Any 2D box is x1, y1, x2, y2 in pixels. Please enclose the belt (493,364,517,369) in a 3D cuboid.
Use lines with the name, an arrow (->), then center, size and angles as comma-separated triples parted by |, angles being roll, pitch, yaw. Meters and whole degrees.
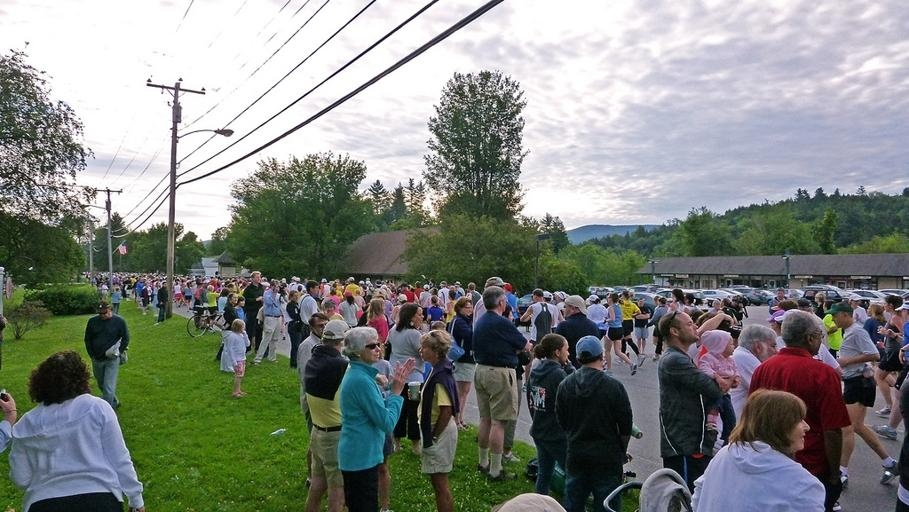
belt -> 1.373, 3.002, 20.441 | 0.548, 0.105, 0.120 | 3, -2, -9

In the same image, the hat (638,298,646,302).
hat -> 8.493, 2.006, 34.192 | 0.279, 0.299, 0.343 | -2, -7, -2

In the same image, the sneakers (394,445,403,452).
sneakers -> -1.557, 5.462, 21.380 | 0.293, 0.120, 0.208 | 4, -3, -25

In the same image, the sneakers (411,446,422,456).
sneakers -> -1.060, 5.476, 21.179 | 0.085, 0.197, 0.232 | 5, -3, -43

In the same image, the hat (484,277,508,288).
hat -> 1.221, 0.781, 22.057 | 0.608, 0.188, 0.432 | 2, -3, -32

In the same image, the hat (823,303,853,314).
hat -> 11.342, 1.566, 22.264 | 0.607, 0.251, 0.418 | -2, 0, 29

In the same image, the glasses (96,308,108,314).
glasses -> -10.438, 1.647, 22.434 | 0.186, 0.117, 0.228 | 6, -7, 11

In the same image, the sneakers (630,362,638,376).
sneakers -> 6.432, 4.104, 27.034 | 0.193, 0.529, 0.232 | -10, 34, -19

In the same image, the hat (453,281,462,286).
hat -> 0.157, 1.162, 30.560 | 0.274, 0.095, 0.265 | -1, 0, 30

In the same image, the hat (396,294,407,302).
hat -> -1.952, 1.613, 28.398 | 0.283, 0.227, 0.316 | 9, 12, 27

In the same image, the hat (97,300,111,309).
hat -> -10.465, 1.464, 22.586 | 0.320, 0.225, 0.239 | -11, -9, 41

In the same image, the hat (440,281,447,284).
hat -> -0.551, 1.338, 37.982 | 0.327, 0.122, 0.328 | -2, -9, 5

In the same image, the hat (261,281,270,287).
hat -> -8.248, 1.223, 32.947 | 0.376, 0.185, 0.474 | 2, 0, -6

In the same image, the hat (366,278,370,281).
hat -> -5.513, 1.479, 48.140 | 0.291, 0.157, 0.364 | 0, -7, -9

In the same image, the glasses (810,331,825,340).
glasses -> 8.793, 1.947, 18.319 | 0.244, 0.071, 0.248 | -8, 19, 42

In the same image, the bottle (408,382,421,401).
bottle -> -1.003, 3.417, 18.957 | 0.421, 0.378, 0.408 | -1, -4, -22

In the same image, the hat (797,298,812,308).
hat -> 11.824, 1.606, 25.448 | 0.707, 0.357, 0.976 | 0, 0, 23

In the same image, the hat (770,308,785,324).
hat -> 9.581, 1.797, 22.392 | 0.686, 0.333, 0.924 | -4, -2, 21

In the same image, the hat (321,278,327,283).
hat -> -7.732, 1.448, 44.851 | 0.242, 0.264, 0.306 | -6, -29, -20

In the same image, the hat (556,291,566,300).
hat -> 3.943, 1.468, 27.734 | 0.331, 0.389, 0.358 | 13, -39, 3

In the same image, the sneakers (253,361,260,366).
sneakers -> -7.119, 3.883, 27.301 | 0.212, 0.189, 0.125 | 4, -16, 15
